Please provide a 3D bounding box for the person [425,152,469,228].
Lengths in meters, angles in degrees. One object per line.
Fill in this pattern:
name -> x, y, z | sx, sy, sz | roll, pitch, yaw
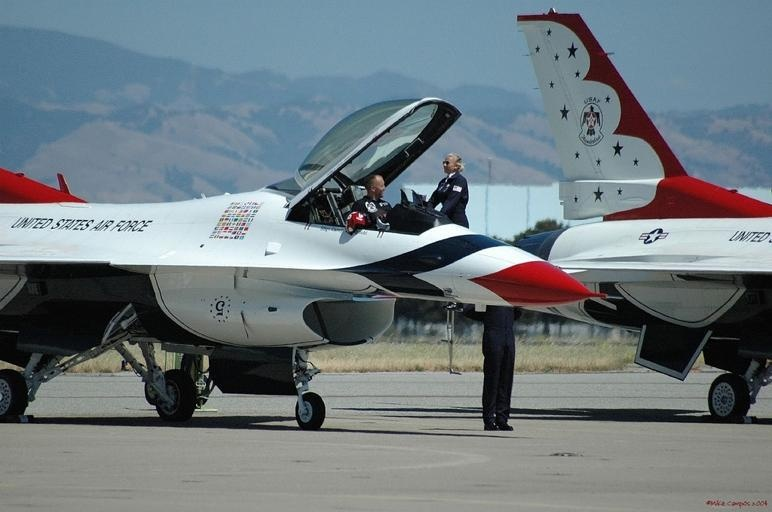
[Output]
person -> 0.897, -0.958, 15.358 | 0.582, 1.234, 1.009 | 5, -7, 4

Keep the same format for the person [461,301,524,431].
person -> 1.424, 1.539, 14.580 | 0.687, 1.694, 0.332 | 4, -8, 6

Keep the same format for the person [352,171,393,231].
person -> -0.181, -0.734, 14.734 | 0.494, 0.728, 0.878 | 6, 9, 25
